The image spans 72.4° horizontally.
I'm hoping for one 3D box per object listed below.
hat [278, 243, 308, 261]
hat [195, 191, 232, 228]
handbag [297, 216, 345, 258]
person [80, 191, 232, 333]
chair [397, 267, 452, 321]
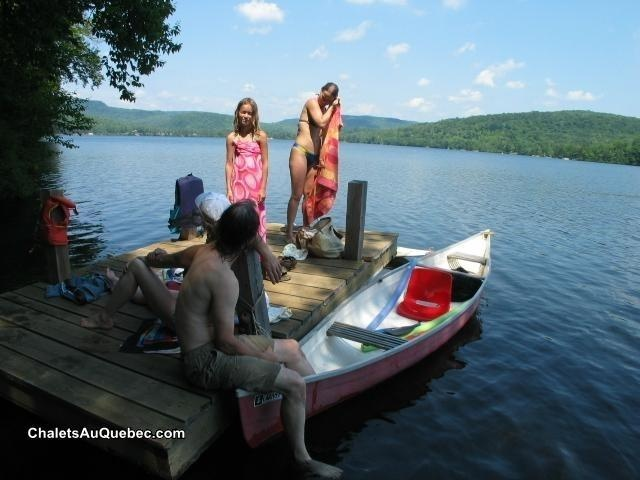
[{"bbox_3d":[-0.398,0.187,7.105,0.332,0.133,0.258,6,11,10],"label":"hat"},{"bbox_3d":[-1.025,-0.304,4.202,0.235,0.125,0.338,29,51,-13],"label":"hat"},{"bbox_3d":[0.047,-0.045,7.120,0.575,0.276,0.781,13,10,13],"label":"handbag"},{"bbox_3d":[-1.671,0.250,4.739,1.948,1.407,0.819,0,-1,20],"label":"person"},{"bbox_3d":[1.665,0.832,6.635,0.870,0.668,0.868,4,8,-13],"label":"chair"}]
